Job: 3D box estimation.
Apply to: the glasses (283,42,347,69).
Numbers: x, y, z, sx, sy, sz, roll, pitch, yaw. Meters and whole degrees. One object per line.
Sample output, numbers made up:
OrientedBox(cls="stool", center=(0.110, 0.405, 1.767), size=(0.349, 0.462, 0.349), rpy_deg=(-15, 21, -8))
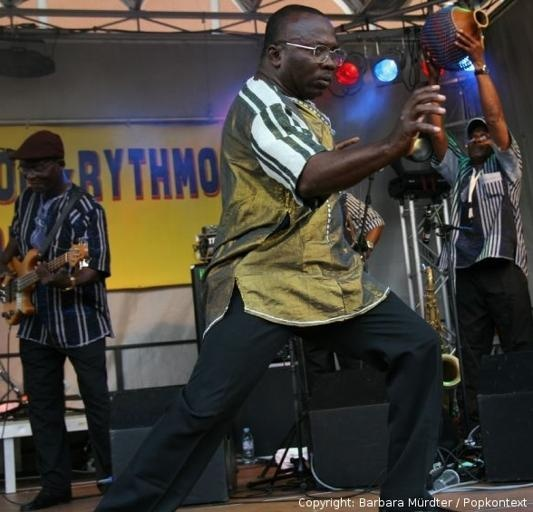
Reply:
OrientedBox(cls="glasses", center=(0.190, -0.653, 2.162), size=(0.114, 0.034, 0.115), rpy_deg=(4, 10, -42))

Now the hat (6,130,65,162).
OrientedBox(cls="hat", center=(-1.267, -0.597, 3.668), size=(0.266, 0.134, 0.181), rpy_deg=(3, 4, -19))

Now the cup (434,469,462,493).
OrientedBox(cls="cup", center=(0.841, 1.050, 3.117), size=(0.094, 0.091, 0.107), rpy_deg=(1, 11, 45))

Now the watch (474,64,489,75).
OrientedBox(cls="watch", center=(1.156, -0.994, 3.595), size=(0.068, 0.045, 0.074), rpy_deg=(-1, 27, 37))

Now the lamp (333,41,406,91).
OrientedBox(cls="lamp", center=(0.971, -1.874, 6.477), size=(0.568, 0.247, 0.690), rpy_deg=(-4, 1, -43))

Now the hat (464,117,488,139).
OrientedBox(cls="hat", center=(1.311, -0.799, 4.145), size=(0.091, 0.136, 0.045), rpy_deg=(10, 4, 29))

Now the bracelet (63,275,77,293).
OrientedBox(cls="bracelet", center=(-1.050, 0.147, 3.588), size=(0.065, 0.082, 0.148), rpy_deg=(0, -7, -17))

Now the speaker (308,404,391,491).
OrientedBox(cls="speaker", center=(0.368, 0.885, 3.248), size=(0.425, 0.392, 0.405), rpy_deg=(-1, -6, -2))
